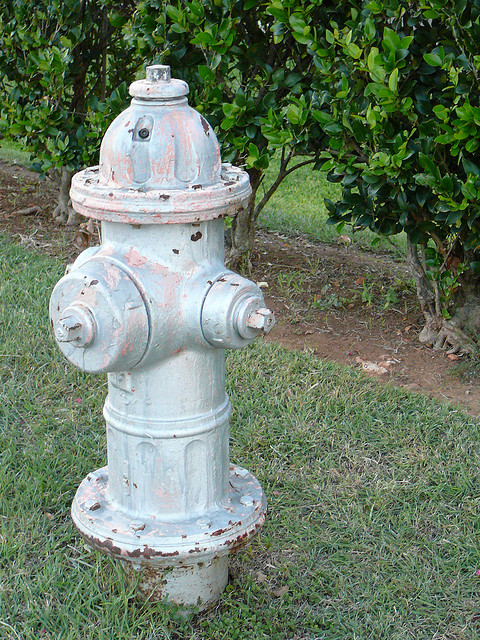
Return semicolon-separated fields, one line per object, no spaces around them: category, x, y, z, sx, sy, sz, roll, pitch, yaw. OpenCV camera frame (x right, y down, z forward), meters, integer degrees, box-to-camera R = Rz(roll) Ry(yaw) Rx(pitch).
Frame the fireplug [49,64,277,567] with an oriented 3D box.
fireplug;-0.189;0.036;1.858;0.613;1.373;0.445;-1;17;-15
